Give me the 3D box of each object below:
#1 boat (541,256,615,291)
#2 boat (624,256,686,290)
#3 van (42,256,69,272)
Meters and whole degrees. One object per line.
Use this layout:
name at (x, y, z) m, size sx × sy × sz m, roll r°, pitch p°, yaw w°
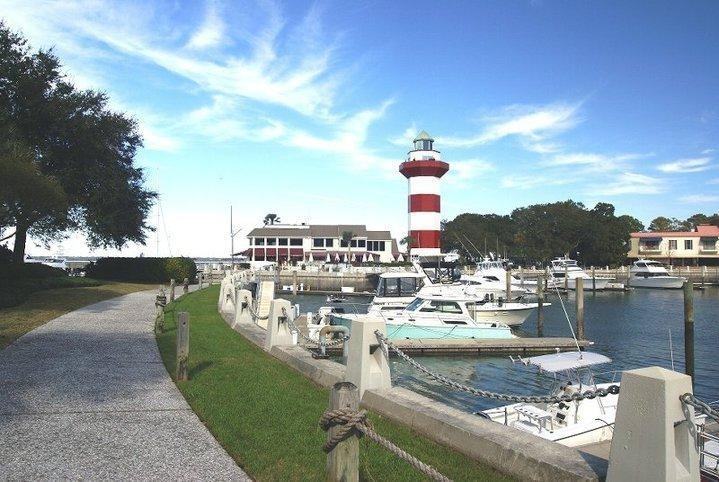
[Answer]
boat at (32.437, 4.970, 73.587) m, size 6.969 × 4.884 × 20.115 m, roll -1°, pitch -3°, yaw 25°
boat at (49.990, 5.437, 82.775) m, size 3.963 × 4.957 × 11.534 m, roll 1°, pitch 2°, yaw -6°
van at (-34.664, 2.656, 56.341) m, size 3.429 × 1.736 × 2.211 m, roll -6°, pitch -8°, yaw 32°
